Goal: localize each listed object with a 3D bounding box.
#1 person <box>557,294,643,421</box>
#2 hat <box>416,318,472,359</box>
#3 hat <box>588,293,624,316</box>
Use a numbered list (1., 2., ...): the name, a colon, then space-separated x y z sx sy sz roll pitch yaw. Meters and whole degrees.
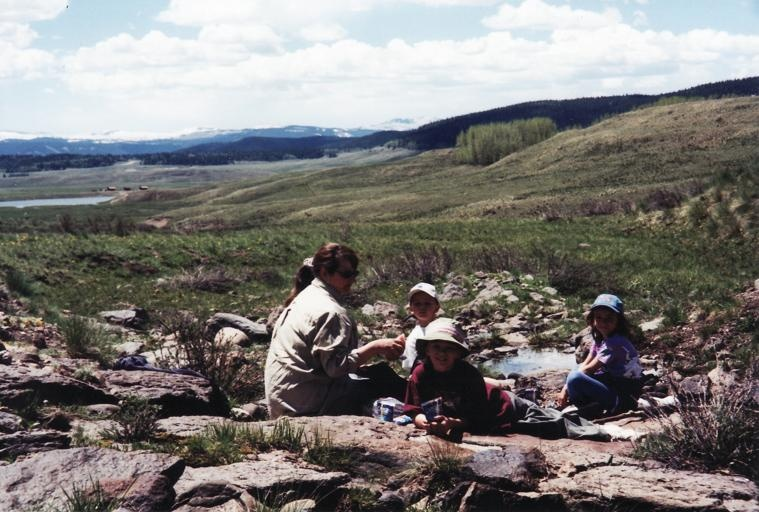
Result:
1. person: 3.701 1.667 12.434 1.203 1.950 0.524 -6 6 12
2. hat: 0.976 1.239 11.591 0.594 0.338 0.661 2 -24 5
3. hat: 3.925 0.774 12.612 0.375 0.250 0.516 3 -16 34
